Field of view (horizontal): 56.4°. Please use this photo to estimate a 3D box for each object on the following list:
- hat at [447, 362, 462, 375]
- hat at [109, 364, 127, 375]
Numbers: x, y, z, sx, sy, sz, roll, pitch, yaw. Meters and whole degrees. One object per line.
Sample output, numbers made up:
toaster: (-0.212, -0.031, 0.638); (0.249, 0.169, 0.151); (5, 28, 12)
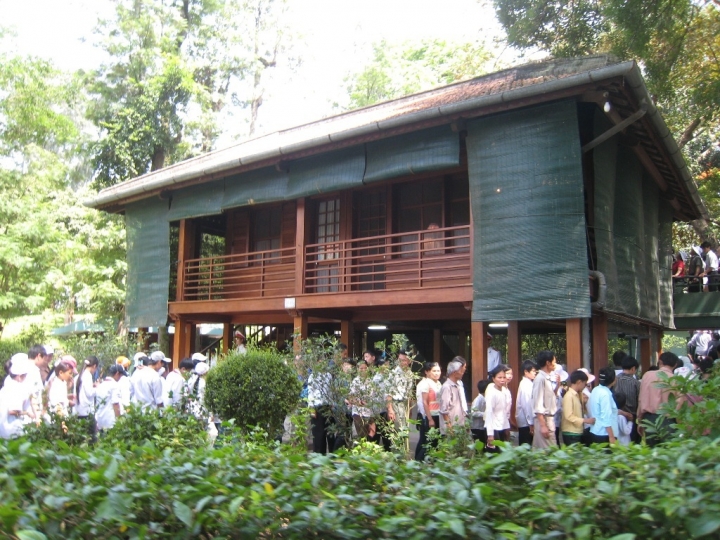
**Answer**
hat: (1.218, 1.283, 8.733); (0.181, 0.189, 0.147); (-10, 8, -12)
hat: (-3.304, 1.384, 9.109); (0.166, 0.204, 0.205); (0, 4, 0)
